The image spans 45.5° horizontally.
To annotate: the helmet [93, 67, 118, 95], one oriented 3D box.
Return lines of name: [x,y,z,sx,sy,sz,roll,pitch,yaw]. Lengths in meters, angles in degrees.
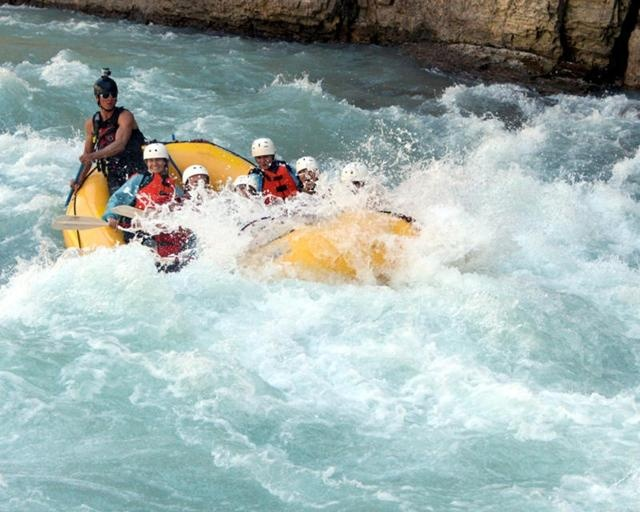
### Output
helmet: [-2.815,-2.268,10.025,0.255,0.350,0.342,2,20,-12]

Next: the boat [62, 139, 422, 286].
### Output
boat: [-1.263,-0.315,9.741,4.150,0.644,1.831,18,48,5]

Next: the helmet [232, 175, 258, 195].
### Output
helmet: [-0.991,-0.920,10.031,0.273,0.206,0.347,-8,-9,-40]

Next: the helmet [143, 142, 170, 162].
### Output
helmet: [-2.069,-1.298,9.632,0.267,0.186,0.297,-4,-11,-7]

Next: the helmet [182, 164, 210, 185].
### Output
helmet: [-1.615,-1.054,9.850,0.272,0.331,0.215,2,62,-35]
